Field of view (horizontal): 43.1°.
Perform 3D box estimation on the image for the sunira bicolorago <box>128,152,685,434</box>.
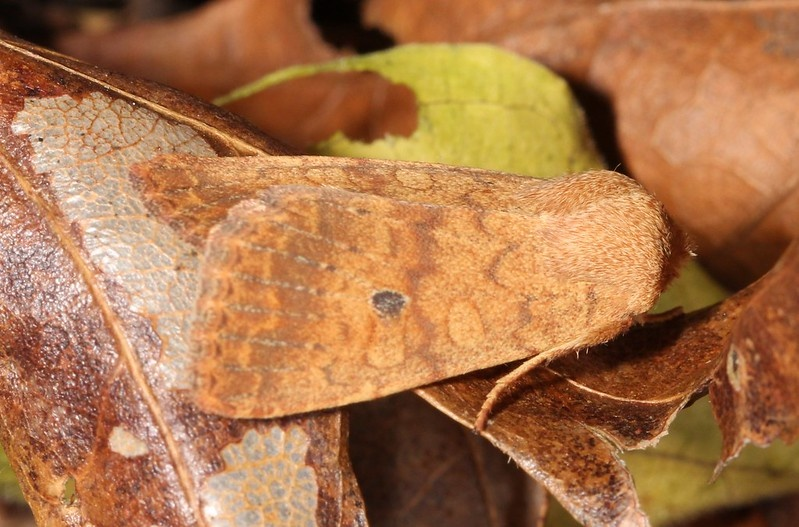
[{"bbox_3d":[0.007,0.039,1.071,0.411,0.155,0.295,1,54,-18],"label":"sunira bicolorago"}]
